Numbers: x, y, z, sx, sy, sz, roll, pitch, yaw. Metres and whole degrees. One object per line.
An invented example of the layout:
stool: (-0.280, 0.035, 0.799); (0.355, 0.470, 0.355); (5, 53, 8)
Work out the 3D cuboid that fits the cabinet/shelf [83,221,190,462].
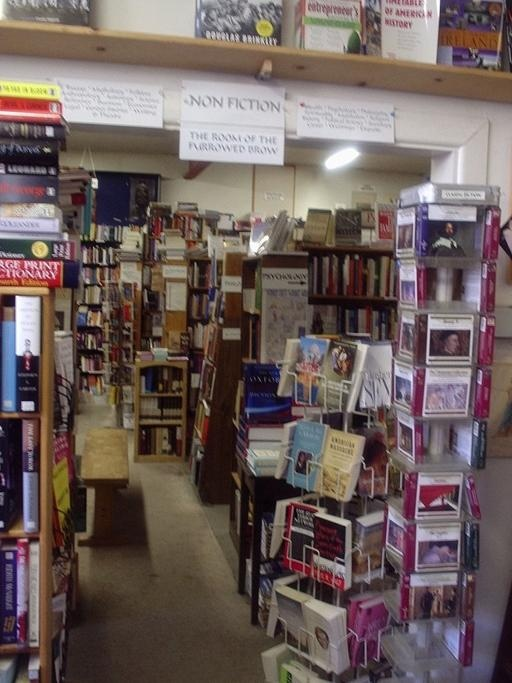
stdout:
cabinet/shelf: (-1.422, -0.019, 7.191); (0.573, 2.212, 1.968); (-4, 31, -18)
